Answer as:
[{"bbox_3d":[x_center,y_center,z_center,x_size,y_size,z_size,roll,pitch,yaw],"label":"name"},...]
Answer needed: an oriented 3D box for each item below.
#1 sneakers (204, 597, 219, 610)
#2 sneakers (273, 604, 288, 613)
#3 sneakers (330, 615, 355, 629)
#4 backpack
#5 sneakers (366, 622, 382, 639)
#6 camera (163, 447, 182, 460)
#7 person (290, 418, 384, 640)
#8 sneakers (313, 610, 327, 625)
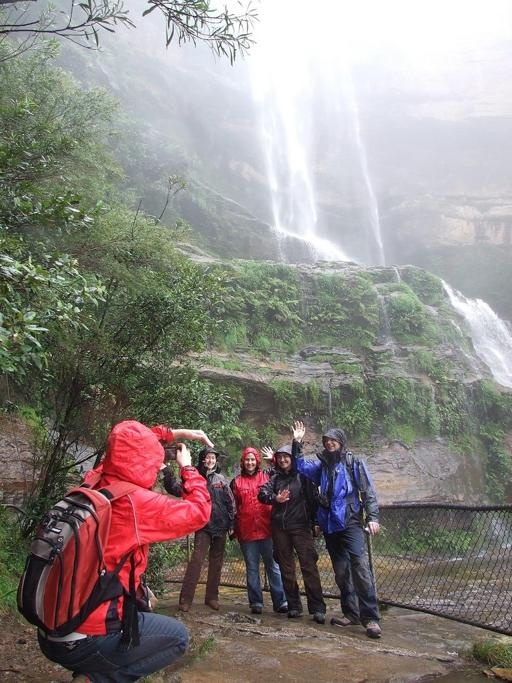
[{"bbox_3d":[-0.458,2.762,5.363,0.073,0.088,0.208,8,-21,-27],"label":"sneakers"},{"bbox_3d":[0.241,2.640,5.048,0.117,0.110,0.070,-2,-6,13],"label":"sneakers"},{"bbox_3d":[0.761,2.456,4.478,0.240,0.095,0.084,17,-28,-14],"label":"sneakers"},{"bbox_3d":[-0.653,0.887,1.986,0.216,0.617,0.463,-10,-14,37],"label":"backpack"},{"bbox_3d":[0.952,2.317,4.091,0.072,0.078,0.191,-4,-30,5],"label":"sneakers"},{"bbox_3d":[-0.466,0.593,2.765,0.144,0.096,0.034,-5,-9,35],"label":"camera"},{"bbox_3d":[0.830,1.648,4.669,0.570,1.837,0.976,6,-13,-36],"label":"person"},{"bbox_3d":[0.574,2.443,4.509,0.122,0.114,0.066,6,-18,-29],"label":"sneakers"}]
